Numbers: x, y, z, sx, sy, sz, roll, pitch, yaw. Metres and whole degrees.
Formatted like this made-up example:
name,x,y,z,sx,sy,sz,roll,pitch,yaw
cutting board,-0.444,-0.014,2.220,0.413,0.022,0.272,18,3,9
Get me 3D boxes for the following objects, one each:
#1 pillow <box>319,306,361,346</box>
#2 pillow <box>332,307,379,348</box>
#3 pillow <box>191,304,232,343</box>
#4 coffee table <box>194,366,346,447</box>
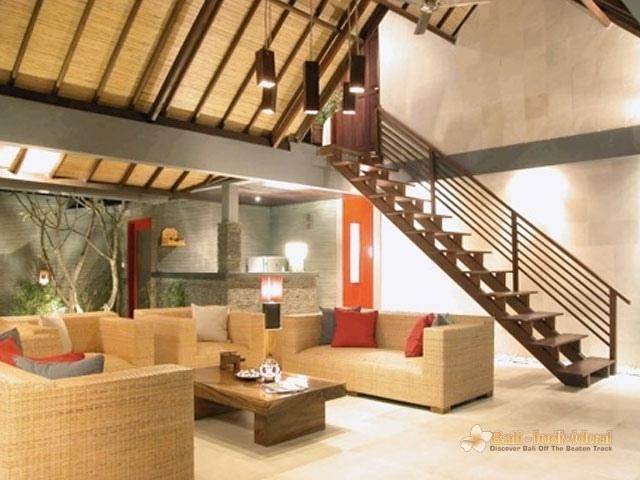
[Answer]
name,x,y,z,sx,sy,sz,roll,pitch,yaw
pillow,0.238,1.043,6.058,0.422,0.403,0.162,-1,-11,7
pillow,0.414,1.055,6.014,0.418,0.384,0.142,2,-27,8
pillow,-1.289,1.001,6.005,0.407,0.361,0.151,1,-21,-3
coffee table,-0.539,1.472,4.522,1.281,0.490,0.813,2,3,35
